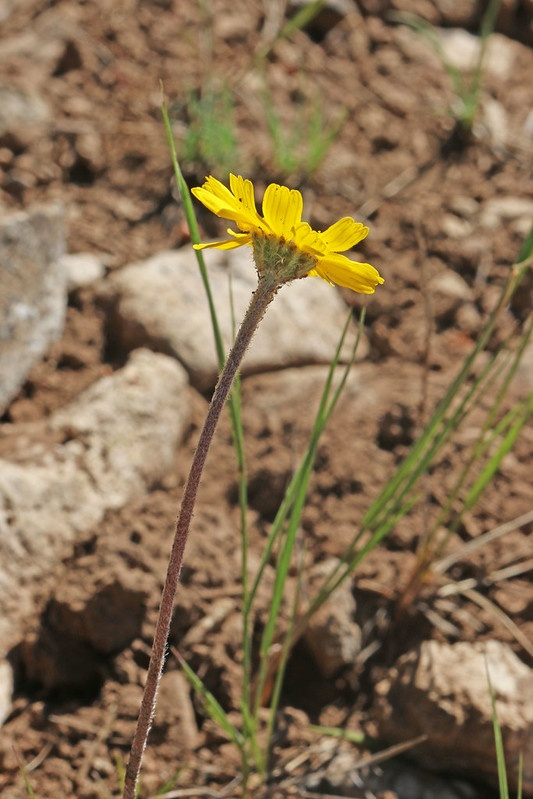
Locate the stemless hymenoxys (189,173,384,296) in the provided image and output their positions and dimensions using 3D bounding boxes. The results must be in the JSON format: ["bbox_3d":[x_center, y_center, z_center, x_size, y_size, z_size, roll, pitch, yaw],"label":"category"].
[{"bbox_3d":[0.042,-0.236,1.743,0.284,0.094,0.268,20,2,-33],"label":"stemless hymenoxys"}]
